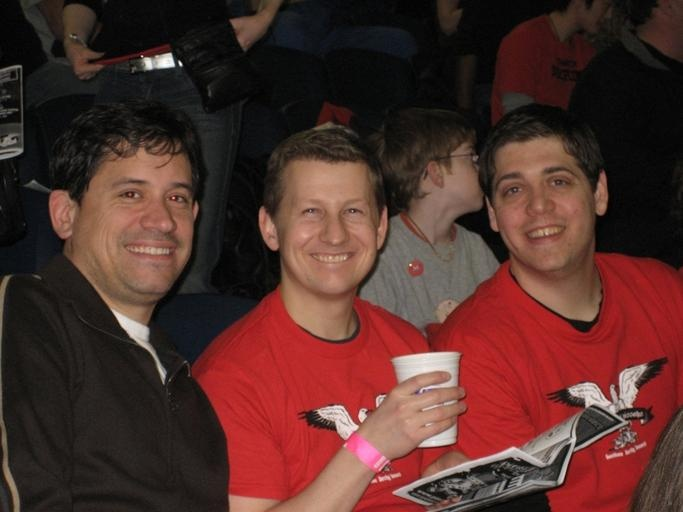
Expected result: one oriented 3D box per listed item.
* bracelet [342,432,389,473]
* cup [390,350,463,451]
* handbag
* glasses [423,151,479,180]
[{"bbox_3d":[0.074,0.688,2.332,0.154,0.076,0.161,27,-19,12],"label":"bracelet"},{"bbox_3d":[0.297,0.531,2.383,0.331,0.347,0.322,-8,-16,-2],"label":"cup"},{"bbox_3d":[-0.746,-1.019,3.503,0.617,0.202,0.645,-5,-13,5],"label":"handbag"},{"bbox_3d":[0.677,-0.569,3.847,0.216,0.064,0.210,-9,2,-9],"label":"glasses"}]
